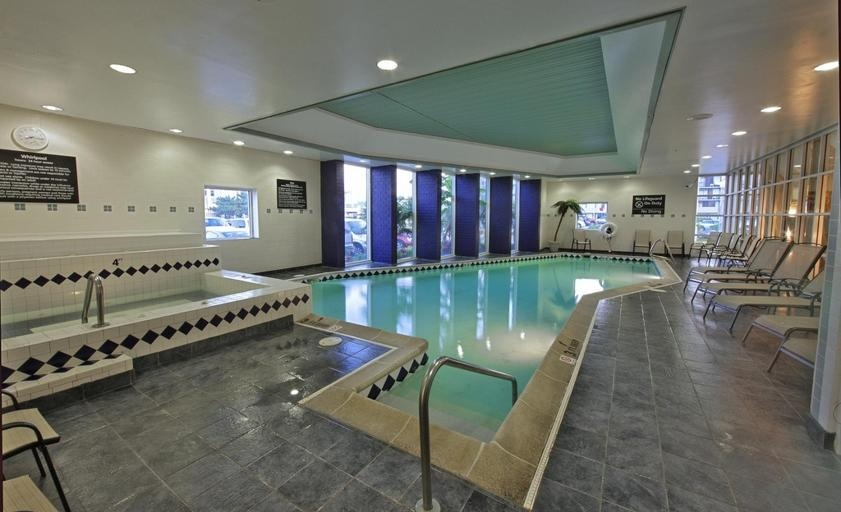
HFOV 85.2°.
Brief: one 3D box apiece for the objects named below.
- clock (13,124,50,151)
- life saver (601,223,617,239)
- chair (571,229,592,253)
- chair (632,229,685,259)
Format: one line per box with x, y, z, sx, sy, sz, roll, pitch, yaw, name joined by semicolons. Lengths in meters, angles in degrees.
-6.421;-1.942;7.524;0.389;0.382;0.414;4;0;39;clock
7.067;-0.987;17.058;0.565;0.544;0.143;-28;16;17;life saver
6.404;-0.619;18.189;0.820;1.159;0.870;0;2;3;chair
8.420;-0.517;16.161;1.692;0.905;0.916;1;6;25;chair
